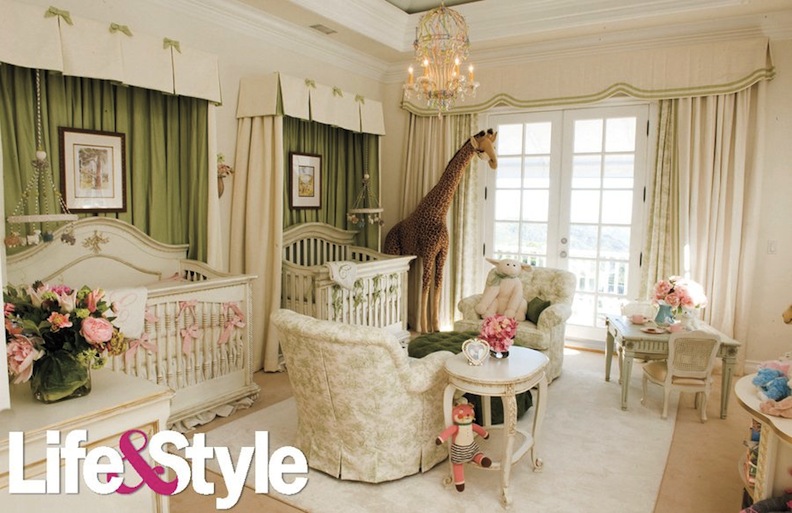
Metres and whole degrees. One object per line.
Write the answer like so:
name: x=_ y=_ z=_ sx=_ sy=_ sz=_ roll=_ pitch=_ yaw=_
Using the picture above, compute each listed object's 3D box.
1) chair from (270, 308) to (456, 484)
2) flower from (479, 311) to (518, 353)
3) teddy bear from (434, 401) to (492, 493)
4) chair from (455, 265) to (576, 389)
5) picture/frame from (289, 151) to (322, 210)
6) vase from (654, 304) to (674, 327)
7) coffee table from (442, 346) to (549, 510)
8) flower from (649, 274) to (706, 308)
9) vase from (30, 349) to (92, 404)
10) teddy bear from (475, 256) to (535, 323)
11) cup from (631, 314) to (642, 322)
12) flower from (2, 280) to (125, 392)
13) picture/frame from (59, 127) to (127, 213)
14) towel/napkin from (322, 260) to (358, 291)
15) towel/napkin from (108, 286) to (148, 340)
chair: x=-0.203 y=0.918 z=4.321 sx=1.139 sy=1.103 sz=1.256 roll=4 pitch=8 yaw=34
flower: x=0.731 y=0.531 z=4.012 sx=0.254 sy=0.254 sz=0.254 roll=1 pitch=-5 yaw=-13
teddy bear: x=0.487 y=1.212 z=3.813 sx=0.412 sy=0.497 sz=0.334 roll=-19 pitch=24 yaw=-41
chair: x=1.265 y=0.560 z=5.711 sx=1.223 sy=1.187 sz=1.101 roll=2 pitch=-1 yaw=36
picture/frame: x=-0.999 y=-0.832 z=6.047 sx=0.031 sy=0.756 sz=0.657 roll=0 pitch=1 yaw=32
vase: x=2.413 y=0.516 z=5.067 sx=0.174 sy=0.245 sz=0.172 roll=3 pitch=-4 yaw=-28
coffee table: x=0.791 y=1.095 z=4.272 sx=0.885 sy=1.114 sz=0.993 roll=1 pitch=4 yaw=33
flower: x=2.522 y=0.297 z=5.033 sx=0.334 sy=0.204 sz=0.328 roll=3 pitch=9 yaw=-29
vase: x=-1.746 y=0.616 z=3.010 sx=0.306 sy=0.306 sz=0.214 roll=-3 pitch=1 yaw=-25
teddy bear: x=1.095 y=0.323 z=5.649 sx=0.612 sy=0.775 sz=0.606 roll=-3 pitch=-4 yaw=35
cup: x=2.201 y=0.549 z=5.147 sx=0.064 sy=0.042 sz=0.064 roll=0 pitch=-5 yaw=0
flower: x=-1.781 y=0.423 z=3.128 sx=0.582 sy=0.604 sz=0.609 roll=-8 pitch=-8 yaw=40
picture/frame: x=-2.479 y=-0.714 z=4.537 sx=0.056 sy=0.824 sz=0.664 roll=9 pitch=11 yaw=41
towel/napkin: x=-0.516 y=0.170 z=5.364 sx=0.261 sy=0.258 sz=0.084 roll=4 pitch=-10 yaw=-36
towel/napkin: x=-1.981 y=0.378 z=4.141 sx=0.108 sy=0.413 sz=0.410 roll=4 pitch=2 yaw=43
